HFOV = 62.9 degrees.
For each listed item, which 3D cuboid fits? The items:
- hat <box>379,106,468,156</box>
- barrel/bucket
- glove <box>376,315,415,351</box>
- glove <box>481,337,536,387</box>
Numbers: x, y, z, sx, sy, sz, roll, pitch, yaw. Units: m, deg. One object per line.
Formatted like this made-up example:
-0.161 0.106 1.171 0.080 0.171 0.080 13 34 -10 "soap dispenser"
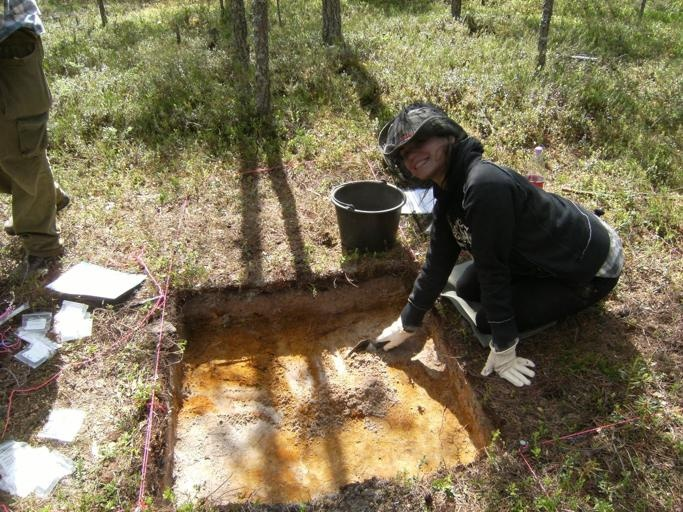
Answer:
0.615 -0.980 4.375 0.631 0.355 0.388 3 38 3 "hat"
0.274 -0.416 5.611 0.630 0.550 0.724 -6 41 -3 "barrel/bucket"
0.493 0.776 5.247 0.392 0.172 0.241 -37 20 21 "glove"
1.425 0.894 4.790 0.419 0.365 0.198 39 22 -19 "glove"
